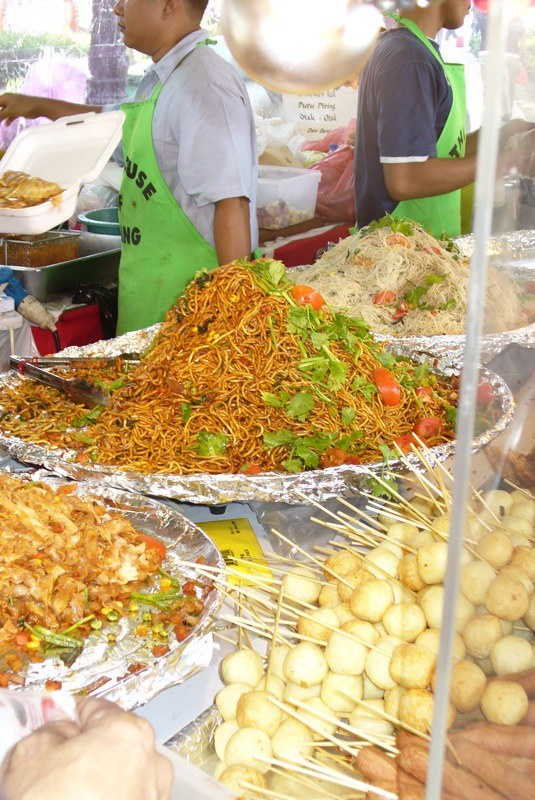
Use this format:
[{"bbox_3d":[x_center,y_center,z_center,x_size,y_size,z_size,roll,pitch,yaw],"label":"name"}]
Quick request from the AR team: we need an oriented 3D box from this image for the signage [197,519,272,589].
[{"bbox_3d":[-0.083,0.321,1.376,0.124,0.215,0.008,-2,38,-5],"label":"signage"}]

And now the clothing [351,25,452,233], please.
[{"bbox_3d":[0.746,-1.360,3.223,0.455,0.986,0.848,2,34,16],"label":"clothing"}]

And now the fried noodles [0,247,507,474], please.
[{"bbox_3d":[-0.051,-0.026,1.720,0.840,0.254,0.822,13,25,29],"label":"fried noodles"}]

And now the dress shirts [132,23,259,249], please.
[{"bbox_3d":[-0.271,-0.949,2.330,0.386,0.653,0.705,-14,34,-1],"label":"dress shirts"}]

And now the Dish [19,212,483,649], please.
[{"bbox_3d":[-0.044,-0.001,1.716,0.909,0.252,0.786,-20,33,-16],"label":"Dish"}]

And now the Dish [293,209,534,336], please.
[{"bbox_3d":[0.581,-0.442,2.468,0.811,0.228,0.762,4,24,-13],"label":"Dish"}]
